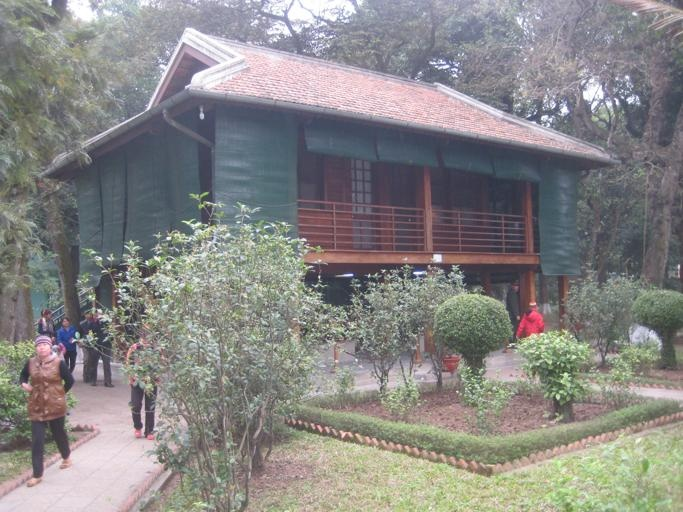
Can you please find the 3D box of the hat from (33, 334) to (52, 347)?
[{"bbox_3d":[-4.960,1.378,10.433,0.166,0.193,0.227,-3,6,-17],"label":"hat"}]

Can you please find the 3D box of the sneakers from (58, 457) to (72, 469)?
[{"bbox_3d":[-4.603,3.441,10.442,0.093,0.152,0.213,-5,-16,16],"label":"sneakers"}]

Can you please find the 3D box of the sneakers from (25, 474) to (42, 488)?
[{"bbox_3d":[-4.826,3.513,9.853,0.103,0.105,0.222,-1,-13,13],"label":"sneakers"}]

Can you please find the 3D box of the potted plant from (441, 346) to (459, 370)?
[{"bbox_3d":[2.890,2.776,16.551,0.397,0.529,0.592,-4,-6,12],"label":"potted plant"}]

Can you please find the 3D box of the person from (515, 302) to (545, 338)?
[{"bbox_3d":[4.717,1.579,15.716,0.595,0.849,2.033,-4,-6,15],"label":"person"}]
